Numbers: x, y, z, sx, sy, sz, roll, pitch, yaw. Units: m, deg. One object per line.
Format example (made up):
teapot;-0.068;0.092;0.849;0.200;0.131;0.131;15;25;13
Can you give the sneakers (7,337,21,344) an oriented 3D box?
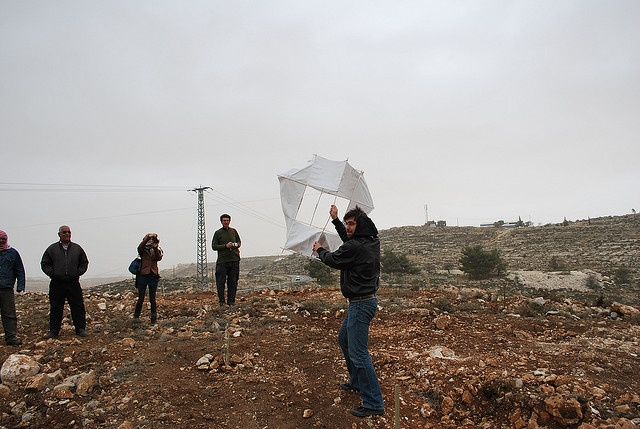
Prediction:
sneakers;-6.931;2.872;8.575;0.364;0.172;0.158;-3;-5;10

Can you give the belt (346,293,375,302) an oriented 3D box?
belt;0.752;1.528;6.909;0.484;0.140;0.145;-3;-5;6

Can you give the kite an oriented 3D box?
kite;-0.451;-0.412;11.629;3.585;2.944;3.456;-6;1;2

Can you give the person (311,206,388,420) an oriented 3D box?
person;0.650;1.652;7.033;1.046;3.756;0.865;-5;-6;29

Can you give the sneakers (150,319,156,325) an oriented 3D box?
sneakers;-4.572;2.937;10.393;0.182;0.104;0.414;0;-5;-26

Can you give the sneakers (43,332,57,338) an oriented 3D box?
sneakers;-6.428;2.867;9.008;0.263;0.139;0.290;-1;-5;-18

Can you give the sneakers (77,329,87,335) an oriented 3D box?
sneakers;-5.855;2.909;9.334;0.309;0.156;0.177;-6;-6;36

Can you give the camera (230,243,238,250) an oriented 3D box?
camera;-2.775;1.011;12.115;0.178;0.229;0.094;-3;9;-15

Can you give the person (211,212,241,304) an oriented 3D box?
person;-3.004;1.481;12.201;0.792;2.925;1.238;-1;-5;-14

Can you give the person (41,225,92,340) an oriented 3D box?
person;-6.208;1.635;9.230;0.920;2.706;0.733;1;-6;-35

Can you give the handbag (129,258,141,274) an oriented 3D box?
handbag;-4.990;1.440;10.269;0.288;0.438;0.701;0;-5;-24
